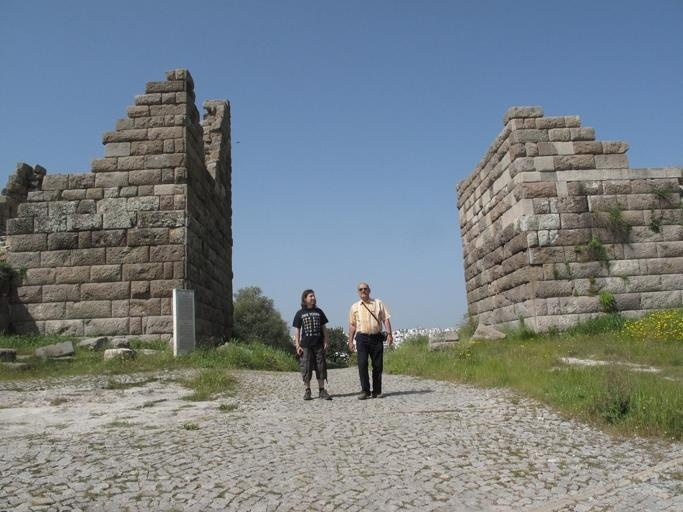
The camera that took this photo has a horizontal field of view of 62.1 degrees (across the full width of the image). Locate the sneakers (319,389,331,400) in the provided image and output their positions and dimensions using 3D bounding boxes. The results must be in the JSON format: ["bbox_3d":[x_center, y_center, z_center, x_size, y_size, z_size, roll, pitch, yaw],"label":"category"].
[{"bbox_3d":[-0.252,2.246,9.193,0.201,0.157,0.275,1,1,-9],"label":"sneakers"}]

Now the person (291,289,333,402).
[{"bbox_3d":[-0.482,1.460,9.415,0.623,1.878,1.274,1,1,-4],"label":"person"}]

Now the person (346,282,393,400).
[{"bbox_3d":[0.471,1.388,9.336,0.694,1.820,0.465,1,1,1],"label":"person"}]

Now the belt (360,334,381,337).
[{"bbox_3d":[0.491,1.282,9.265,0.291,0.059,0.048,1,1,-14],"label":"belt"}]

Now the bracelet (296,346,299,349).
[{"bbox_3d":[-0.733,1.510,9.403,0.042,0.050,0.022,7,-34,-19],"label":"bracelet"}]

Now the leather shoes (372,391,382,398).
[{"bbox_3d":[0.574,2.248,9.243,0.153,0.105,0.143,1,1,2],"label":"leather shoes"}]

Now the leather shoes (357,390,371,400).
[{"bbox_3d":[0.368,2.275,9.235,0.083,0.108,0.240,-11,-23,39],"label":"leather shoes"}]
